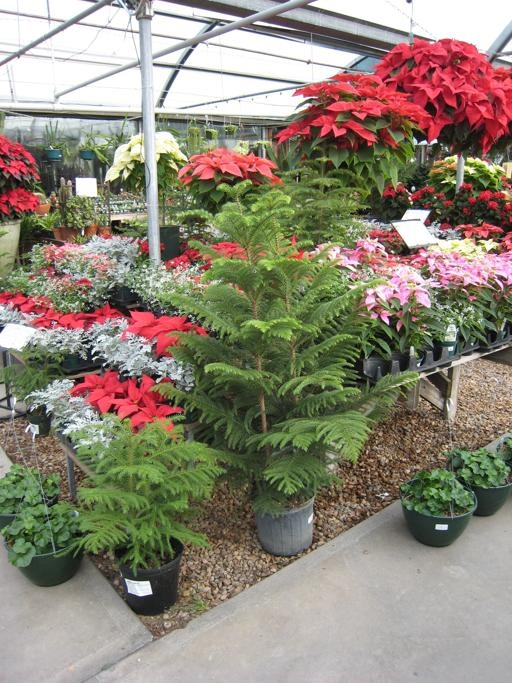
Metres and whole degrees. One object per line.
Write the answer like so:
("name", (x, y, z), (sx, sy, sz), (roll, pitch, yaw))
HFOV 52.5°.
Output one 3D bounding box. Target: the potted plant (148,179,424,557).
("potted plant", (0.086, 0.177, 1.999), (0.872, 1.446, 0.781), (3, 17, 23))
